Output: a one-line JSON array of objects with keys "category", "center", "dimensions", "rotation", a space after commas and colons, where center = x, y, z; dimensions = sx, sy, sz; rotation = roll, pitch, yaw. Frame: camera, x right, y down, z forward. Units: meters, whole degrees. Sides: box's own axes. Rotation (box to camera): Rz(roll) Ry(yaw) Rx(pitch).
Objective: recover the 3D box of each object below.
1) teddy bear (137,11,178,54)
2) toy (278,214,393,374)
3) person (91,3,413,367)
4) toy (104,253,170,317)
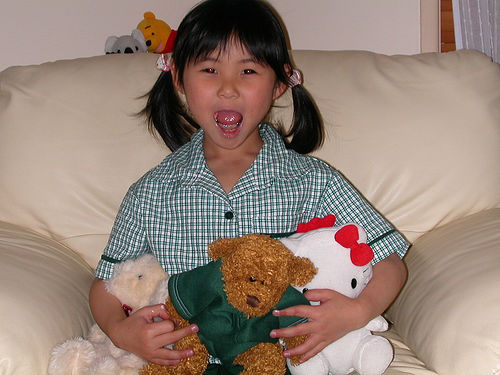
[{"category": "teddy bear", "center": [-0.349, -0.574, 1.633], "dimensions": [0.134, 0.150, 0.388], "rotation": [-13, 31, -14]}, {"category": "toy", "center": [0.195, 0.256, 0.971], "dimensions": [0.233, 0.335, 0.214], "rotation": [-13, 13, -12]}, {"category": "person", "center": [0.002, 0.015, 1.122], "dimensions": [0.739, 0.986, 0.599], "rotation": [-2, 19, -2]}, {"category": "toy", "center": [-0.281, 0.239, 1.113], "dimensions": [0.116, 0.171, 0.074], "rotation": [-4, -5, 6]}]
